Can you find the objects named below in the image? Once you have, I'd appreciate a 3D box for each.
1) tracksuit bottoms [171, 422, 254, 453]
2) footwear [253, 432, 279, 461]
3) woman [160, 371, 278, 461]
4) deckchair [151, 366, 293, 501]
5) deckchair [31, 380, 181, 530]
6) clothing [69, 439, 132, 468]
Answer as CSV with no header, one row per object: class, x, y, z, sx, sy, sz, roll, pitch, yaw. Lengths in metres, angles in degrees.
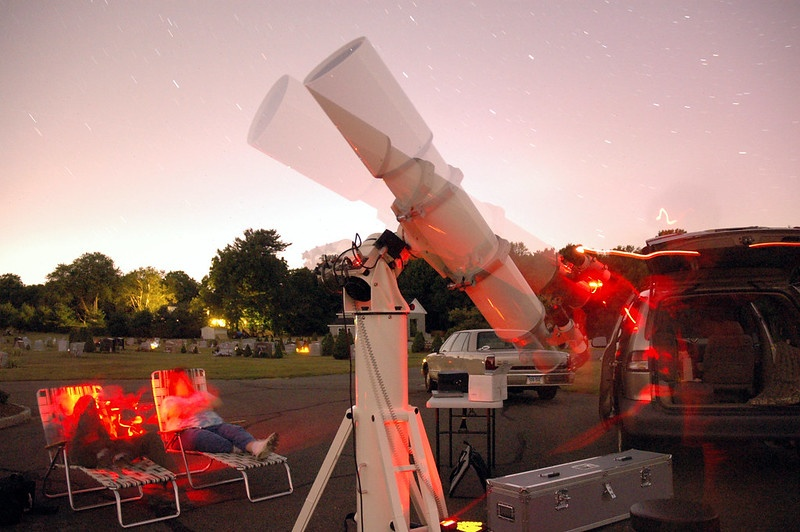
tracksuit bottoms,-2.478,2.349,7.415,0.801,0.243,0.455,5,8,7
footwear,-1.767,2.347,7.142,0.285,0.270,0.276,-1,-5,-35
woman,-2.613,2.028,7.527,2.142,1.169,1.038,-7,-9,38
deckchair,-2.468,2.253,7.500,2.174,1.520,1.089,0,-5,33
deckchair,-3.919,2.371,6.952,2.332,1.566,1.231,-1,-3,44
clothing,-3.789,2.384,6.907,0.445,0.176,0.373,13,-17,-42
